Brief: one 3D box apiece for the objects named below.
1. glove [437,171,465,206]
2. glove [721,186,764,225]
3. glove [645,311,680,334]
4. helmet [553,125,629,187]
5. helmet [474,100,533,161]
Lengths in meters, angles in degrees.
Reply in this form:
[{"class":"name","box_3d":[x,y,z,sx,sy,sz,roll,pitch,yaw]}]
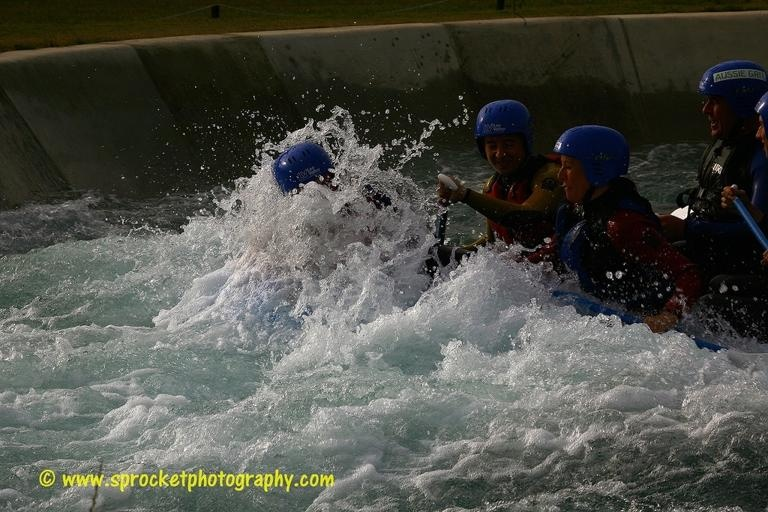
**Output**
[{"class":"glove","box_3d":[0.615,-0.640,8.783,0.195,0.336,0.285,-29,20,-30]},{"class":"glove","box_3d":[3.329,-0.474,8.501,0.131,0.449,0.111,-49,-7,14]},{"class":"glove","box_3d":[2.453,0.582,8.157,0.224,0.163,0.218,-44,13,-33]},{"class":"helmet","box_3d":[1.880,-0.876,8.147,0.708,0.480,0.470,4,3,3]},{"class":"helmet","box_3d":[1.177,-1.279,9.169,0.505,0.542,0.503,0,34,15]}]
